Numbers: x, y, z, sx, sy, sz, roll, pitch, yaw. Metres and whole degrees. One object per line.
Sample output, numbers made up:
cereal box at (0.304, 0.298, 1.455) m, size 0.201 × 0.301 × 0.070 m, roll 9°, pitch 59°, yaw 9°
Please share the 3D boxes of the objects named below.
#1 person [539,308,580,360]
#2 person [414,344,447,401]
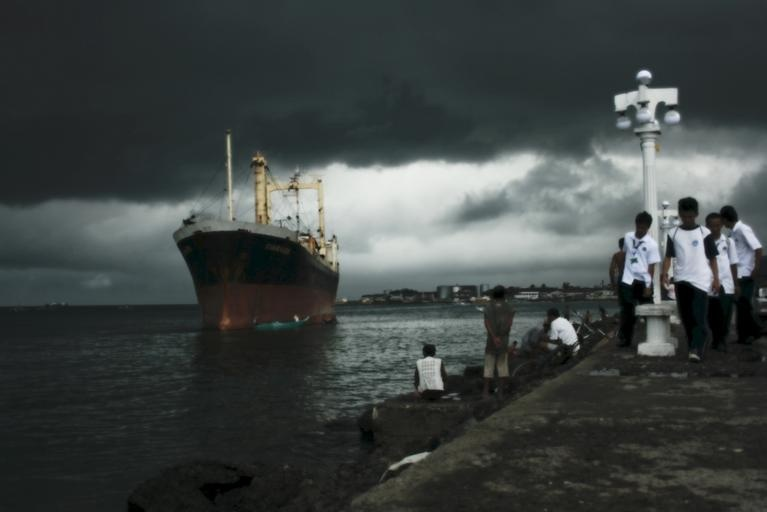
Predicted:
person at (4.016, 1.943, 17.576) m, size 0.644 × 1.408 × 1.020 m, roll -14°, pitch 16°, yaw -35°
person at (1.012, 2.396, 15.893) m, size 0.711 × 1.050 × 0.842 m, roll -11°, pitch -11°, yaw 24°
